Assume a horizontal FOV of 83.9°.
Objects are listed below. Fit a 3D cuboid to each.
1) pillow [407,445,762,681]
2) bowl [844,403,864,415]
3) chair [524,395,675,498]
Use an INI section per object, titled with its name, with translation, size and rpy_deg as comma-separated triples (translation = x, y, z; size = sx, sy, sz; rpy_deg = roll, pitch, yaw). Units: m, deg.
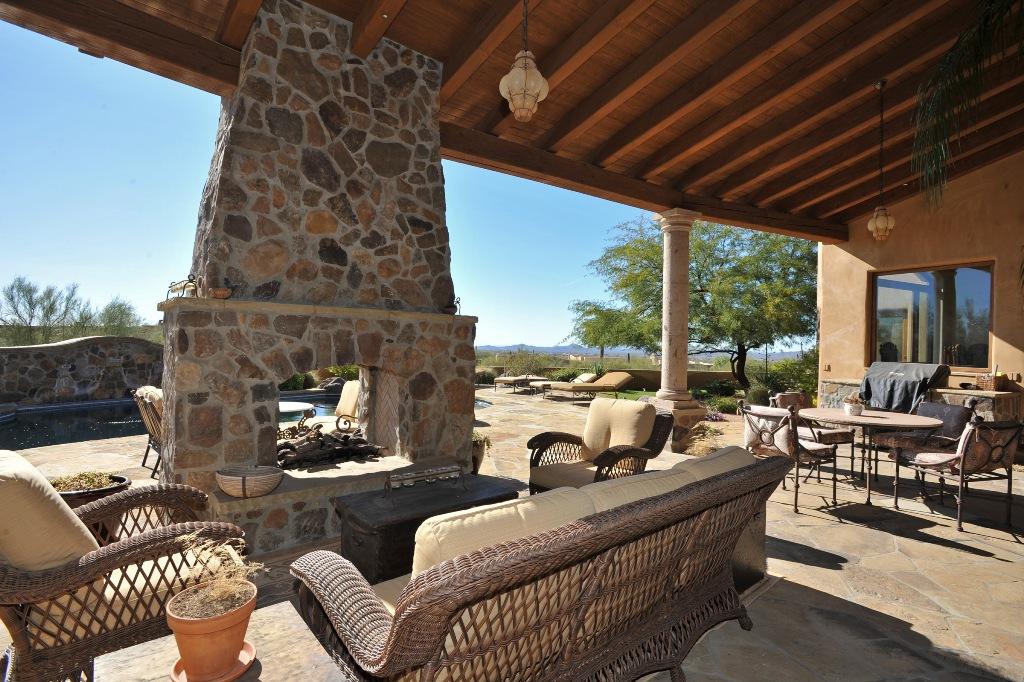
[pillow]
translation = 0.517, 1.114, 3.673
size = 2.296, 0.468, 0.395
rpy_deg = -1, 1, -25
[bowl]
translation = 4.140, 0.826, 6.923
size = 0.160, 0.092, 0.147
rpy_deg = 2, 0, 0
[chair]
translation = 0.975, 1.109, 6.098
size = 1.304, 1.099, 1.077
rpy_deg = 0, 0, -40
